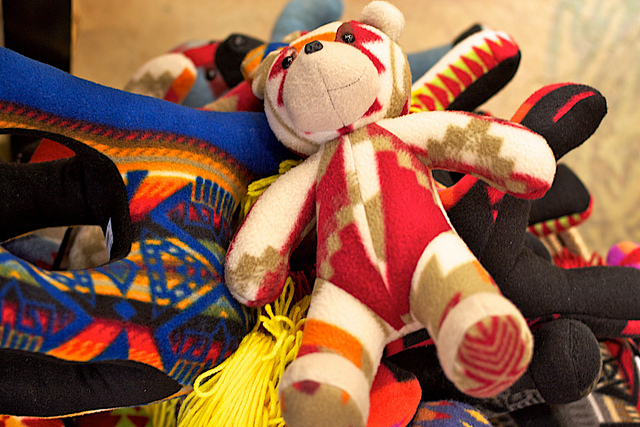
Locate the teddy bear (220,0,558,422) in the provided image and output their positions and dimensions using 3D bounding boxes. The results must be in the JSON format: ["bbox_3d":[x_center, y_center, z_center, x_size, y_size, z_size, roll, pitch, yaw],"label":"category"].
[{"bbox_3d":[0.106,0.021,1.063,0.481,0.646,0.308,-29,-44,27],"label":"teddy bear"}]
